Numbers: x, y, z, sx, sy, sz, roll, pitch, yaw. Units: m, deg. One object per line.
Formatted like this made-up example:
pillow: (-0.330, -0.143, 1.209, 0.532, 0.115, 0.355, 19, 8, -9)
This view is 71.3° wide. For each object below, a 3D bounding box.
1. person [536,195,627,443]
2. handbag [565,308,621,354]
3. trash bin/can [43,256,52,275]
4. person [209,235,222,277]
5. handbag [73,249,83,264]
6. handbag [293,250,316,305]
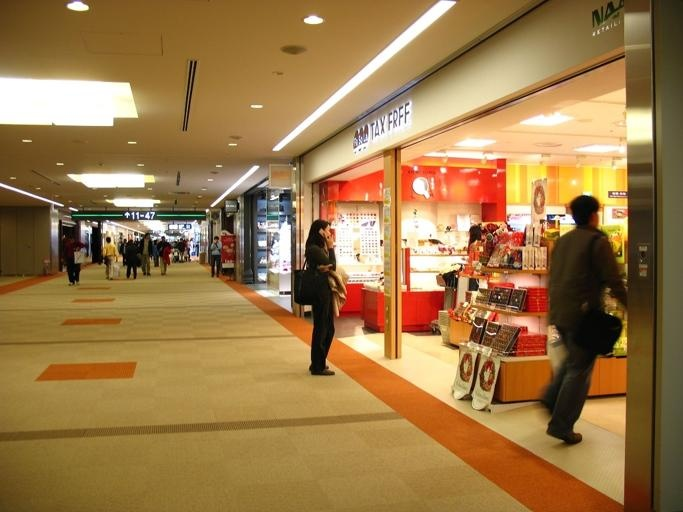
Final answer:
person: (2.021, 0.569, 4.016, 0.598, 2.260, 0.522, 1, 0, 24)
handbag: (2.024, 0.606, 3.766, 0.281, 0.394, 0.140, 35, 39, 13)
trash bin/can: (-14.921, 0.470, 24.206, 0.403, 0.568, 0.315, 0, 1, -12)
person: (-6.110, 0.021, 23.309, 0.427, 1.515, 2.298, 0, 1, -12)
handbag: (-10.200, 0.005, 18.454, 0.110, 0.569, 0.610, -3, 3, 7)
handbag: (-0.510, 0.384, 6.582, 0.249, 0.534, 0.886, 0, 1, -8)
